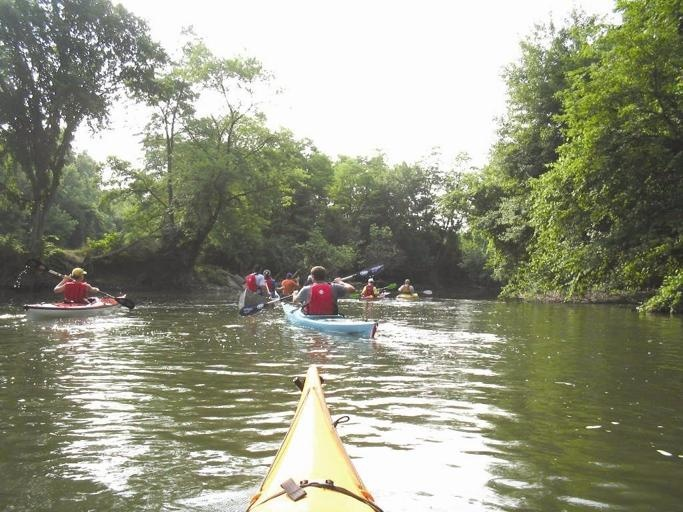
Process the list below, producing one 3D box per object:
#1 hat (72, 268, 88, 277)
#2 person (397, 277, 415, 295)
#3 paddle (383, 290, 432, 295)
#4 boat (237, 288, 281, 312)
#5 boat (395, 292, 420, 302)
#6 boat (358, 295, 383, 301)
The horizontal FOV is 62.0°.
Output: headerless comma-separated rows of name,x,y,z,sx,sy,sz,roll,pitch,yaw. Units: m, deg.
hat,-7.815,0.487,16.873,0.309,0.256,0.519,-3,6,-31
person,4.451,2.082,40.040,0.765,1.691,0.578,5,15,16
paddle,4.041,2.274,35.710,2.577,0.378,0.551,0,-10,12
boat,-2.821,1.522,18.757,0.943,0.920,1.161,1,5,4
boat,3.603,2.206,30.957,1.125,0.351,1.200,1,5,12
boat,1.673,2.299,30.901,1.567,0.264,0.457,2,-9,-6
